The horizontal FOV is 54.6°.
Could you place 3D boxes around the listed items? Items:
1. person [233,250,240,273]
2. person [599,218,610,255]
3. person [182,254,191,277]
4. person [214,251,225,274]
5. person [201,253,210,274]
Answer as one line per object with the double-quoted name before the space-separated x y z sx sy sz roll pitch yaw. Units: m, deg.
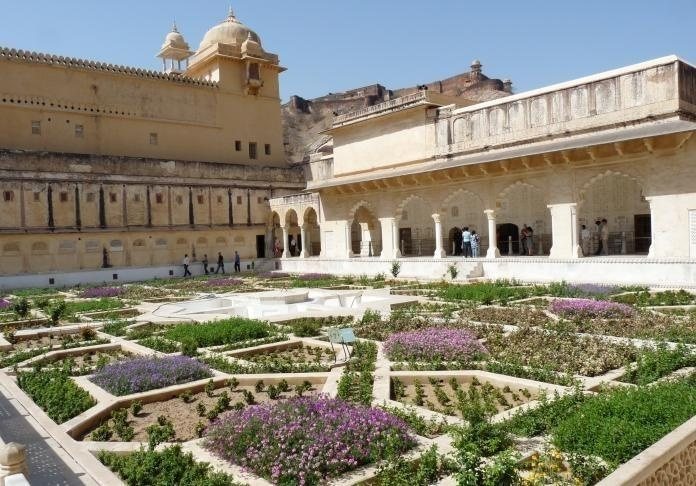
"person" -5.912 1.057 35.933 0.342 1.089 2.018 -2 0 -9
"person" 9.911 -0.236 26.229 0.368 1.401 2.152 -2 0 21
"person" -8.108 1.191 33.953 0.405 1.115 1.919 -2 0 -14
"person" -6.720 1.071 35.409 0.474 1.121 1.824 -2 0 -11
"person" -7.439 1.132 35.123 0.313 1.039 1.291 -2 0 -11
